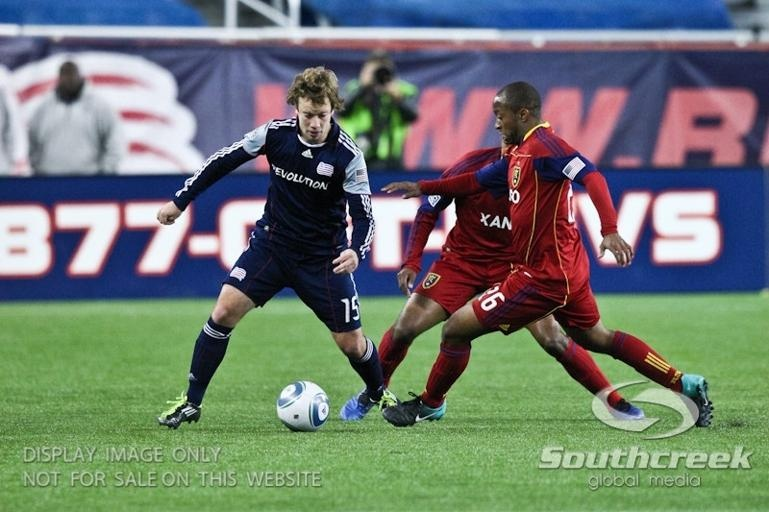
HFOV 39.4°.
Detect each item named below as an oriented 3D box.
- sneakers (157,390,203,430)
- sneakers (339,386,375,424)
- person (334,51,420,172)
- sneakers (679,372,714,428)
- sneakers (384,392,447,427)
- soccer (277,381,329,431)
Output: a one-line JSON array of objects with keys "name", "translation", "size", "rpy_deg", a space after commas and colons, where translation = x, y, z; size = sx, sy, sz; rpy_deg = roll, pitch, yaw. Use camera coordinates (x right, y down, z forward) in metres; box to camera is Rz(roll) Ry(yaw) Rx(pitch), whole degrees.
[{"name": "sneakers", "translation": [-1.607, 1.189, 8.260], "size": [0.436, 0.252, 0.153], "rpy_deg": [-9, 14, -35]}, {"name": "sneakers", "translation": [-0.233, 1.200, 8.502], "size": [0.140, 0.359, 0.155], "rpy_deg": [45, -10, 3]}, {"name": "person", "translation": [-0.094, -1.435, 12.782], "size": [0.900, 1.973, 0.459], "rpy_deg": [-4, -30, 2]}, {"name": "sneakers", "translation": [2.409, 1.104, 8.235], "size": [0.224, 0.391, 0.157], "rpy_deg": [2, -1, 28]}, {"name": "sneakers", "translation": [0.275, 1.162, 8.376], "size": [0.533, 0.239, 0.212], "rpy_deg": [0, 21, -26]}, {"name": "soccer", "translation": [-0.636, 1.157, 8.257], "size": [0.346, 0.363, 0.348], "rpy_deg": [-27, -2, -12]}]
